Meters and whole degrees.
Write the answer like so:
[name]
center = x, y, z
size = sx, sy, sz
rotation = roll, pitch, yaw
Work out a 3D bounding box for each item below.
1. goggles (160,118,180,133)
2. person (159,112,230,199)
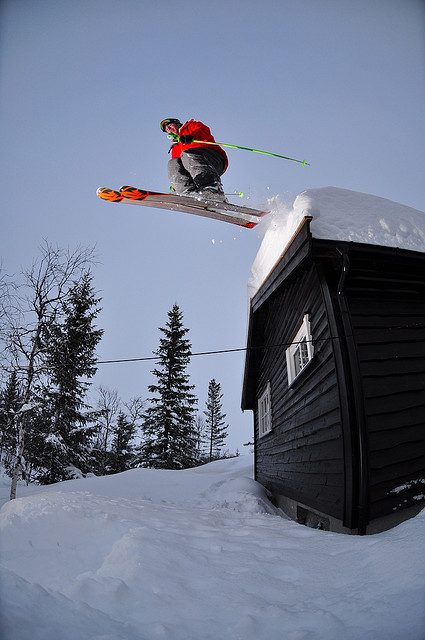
[goggles]
center = -0.784, -3.450, 8.584
size = 0.242, 0.136, 0.175
rotation = -17, 19, -38
[person]
center = -0.310, -2.820, 8.586
size = 0.977, 2.265, 1.070
rotation = 2, -36, -16
